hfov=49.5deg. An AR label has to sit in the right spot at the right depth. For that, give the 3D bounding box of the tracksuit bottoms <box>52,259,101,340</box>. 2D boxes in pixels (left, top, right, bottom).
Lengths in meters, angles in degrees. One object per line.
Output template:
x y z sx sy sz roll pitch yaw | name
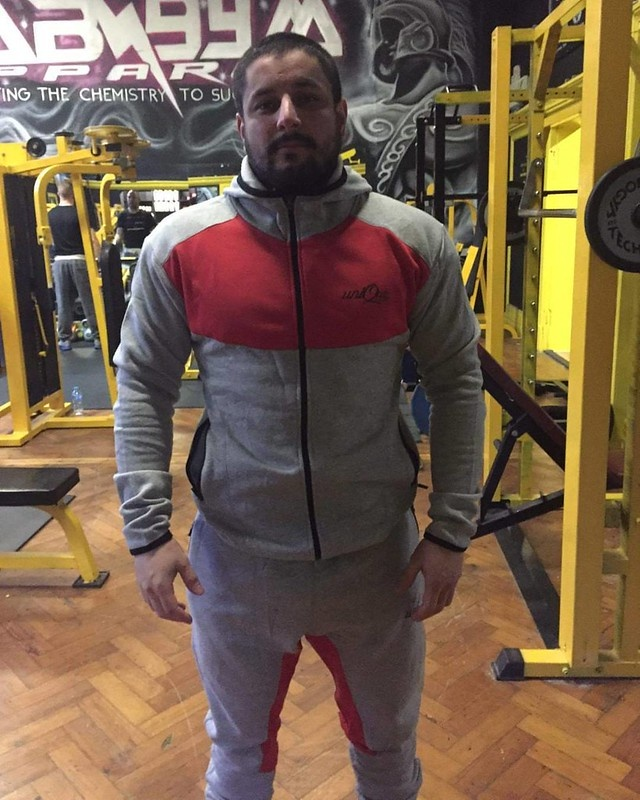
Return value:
-2.390 -0.995 6.835 0.450 0.825 0.264 -4 5 11 | tracksuit bottoms
